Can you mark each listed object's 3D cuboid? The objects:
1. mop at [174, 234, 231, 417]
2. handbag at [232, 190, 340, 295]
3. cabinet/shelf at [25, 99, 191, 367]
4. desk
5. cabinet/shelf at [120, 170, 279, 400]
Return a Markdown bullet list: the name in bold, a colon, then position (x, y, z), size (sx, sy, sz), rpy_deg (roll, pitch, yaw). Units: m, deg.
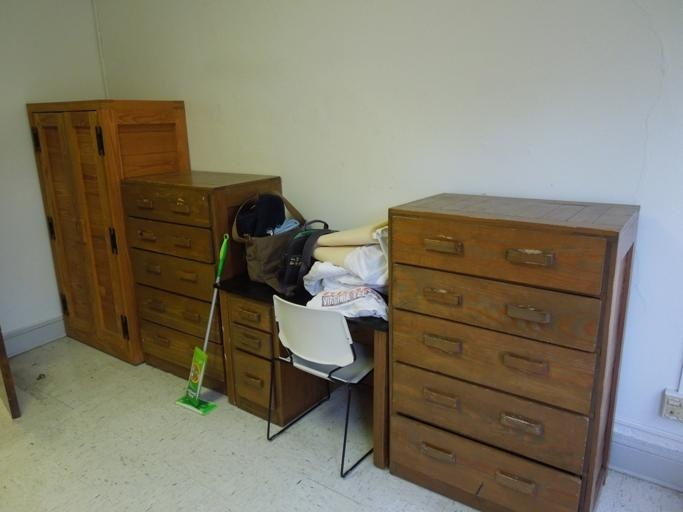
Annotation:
- **mop**: position (-0.884, 0.486, 3.322), size (0.314, 1.248, 0.298), rpy_deg (-10, 20, -42)
- **handbag**: position (-0.378, -0.129, 3.299), size (0.642, 0.626, 0.577), rpy_deg (10, 22, 28)
- **cabinet/shelf**: position (-1.666, -0.070, 3.958), size (0.987, 2.101, 0.655), rpy_deg (13, 17, 42)
- **desk**: position (-0.198, 0.529, 2.882), size (0.704, 1.158, 0.778), rpy_deg (13, 22, 40)
- **cabinet/shelf**: position (-0.791, 0.040, 3.823), size (1.158, 1.740, 0.802), rpy_deg (12, 21, 37)
